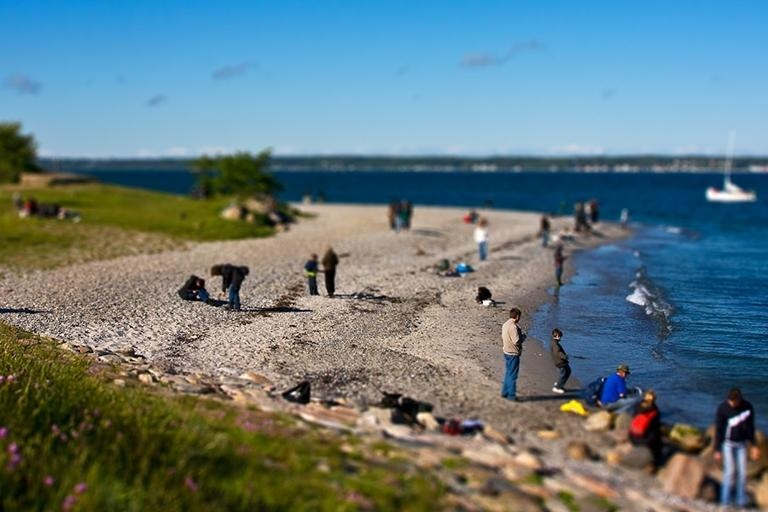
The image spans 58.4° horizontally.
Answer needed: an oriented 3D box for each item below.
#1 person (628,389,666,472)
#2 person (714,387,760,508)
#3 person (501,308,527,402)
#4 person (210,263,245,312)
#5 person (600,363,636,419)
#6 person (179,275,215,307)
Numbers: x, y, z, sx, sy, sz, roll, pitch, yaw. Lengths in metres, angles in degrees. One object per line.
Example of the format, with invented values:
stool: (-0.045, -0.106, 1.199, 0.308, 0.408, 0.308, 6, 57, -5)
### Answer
person: (7.576, 4.935, 19.715, 0.959, 2.021, 0.524, 10, 14, 20)
person: (9.735, 5.324, 19.078, 1.169, 3.148, 0.860, 8, 13, 13)
person: (4.197, 3.227, 22.610, 0.728, 3.038, 0.684, 8, 13, 12)
person: (-6.477, 1.317, 28.934, 1.270, 2.002, 0.971, 2, 13, -15)
person: (7.523, 4.328, 22.110, 0.958, 1.349, 1.424, 6, 13, 6)
person: (-8.250, 1.500, 30.117, 1.731, 1.191, 0.909, 8, 14, 31)
